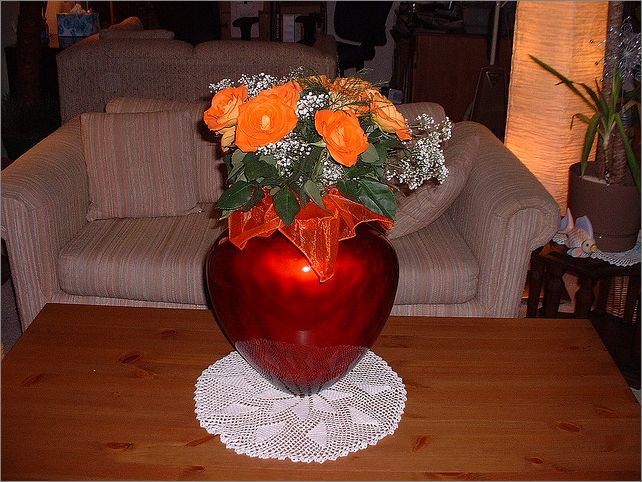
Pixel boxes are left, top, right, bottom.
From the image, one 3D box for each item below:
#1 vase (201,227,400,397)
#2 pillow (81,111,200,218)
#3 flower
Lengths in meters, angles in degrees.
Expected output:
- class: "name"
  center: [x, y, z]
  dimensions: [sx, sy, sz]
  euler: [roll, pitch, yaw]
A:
- class: "vase"
  center: [-0.041, 0.131, 1.130]
  dimensions: [0.455, 0.427, 0.445]
  euler: [2, -1, -24]
- class: "pillow"
  center: [-0.801, -0.347, 2.142]
  dimensions: [0.527, 0.469, 0.149]
  euler: [-7, 4, -17]
- class: "flower"
  center: [0.014, -0.162, 1.007]
  dimensions: [0.381, 0.250, 0.377]
  euler: [3, 52, -3]
